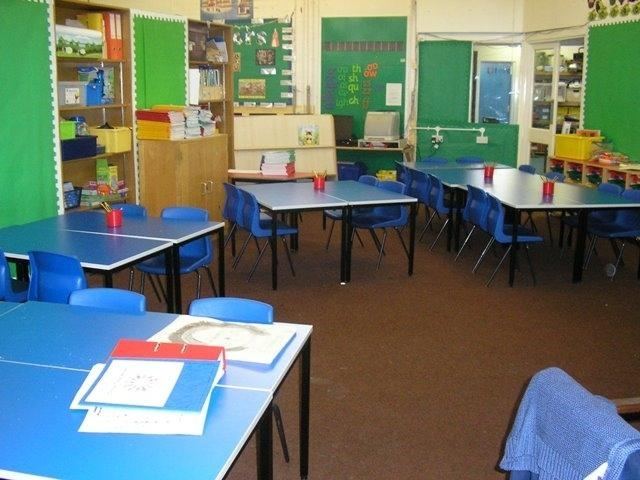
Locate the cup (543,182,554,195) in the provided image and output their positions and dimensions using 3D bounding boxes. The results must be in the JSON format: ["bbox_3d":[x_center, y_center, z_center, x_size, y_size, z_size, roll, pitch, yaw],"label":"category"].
[{"bbox_3d":[2.641,-0.600,6.051,0.134,0.155,0.137,-3,6,0],"label":"cup"}]

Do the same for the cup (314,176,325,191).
[{"bbox_3d":[0.005,-0.695,6.347,0.153,0.174,0.149,1,2,0],"label":"cup"}]

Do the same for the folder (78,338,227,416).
[{"bbox_3d":[-0.658,0.545,2.124,0.489,0.085,0.406,1,15,6],"label":"folder"}]

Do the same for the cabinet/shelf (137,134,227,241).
[{"bbox_3d":[-1.644,-0.662,6.119,0.477,1.198,1.255,4,11,19],"label":"cabinet/shelf"}]

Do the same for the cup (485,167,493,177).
[{"bbox_3d":[2.341,-0.957,7.233,0.121,0.137,0.125,-1,7,0],"label":"cup"}]

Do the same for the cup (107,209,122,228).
[{"bbox_3d":[-1.752,-0.189,4.562,0.138,0.158,0.143,1,6,0],"label":"cup"}]
